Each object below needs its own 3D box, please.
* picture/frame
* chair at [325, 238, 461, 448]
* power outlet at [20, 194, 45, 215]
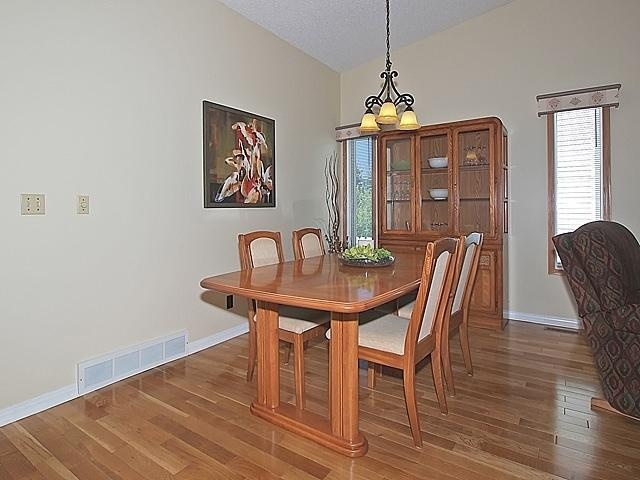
[{"bbox_3d":[-0.829,-0.829,4.434,0.151,1.046,0.968,9,16,36],"label":"picture/frame"},{"bbox_3d":[0.566,0.591,2.943,0.602,1.278,0.648,4,14,19],"label":"chair"},{"bbox_3d":[-2.032,-0.251,3.096,0.017,0.167,0.154,6,4,36],"label":"power outlet"}]
